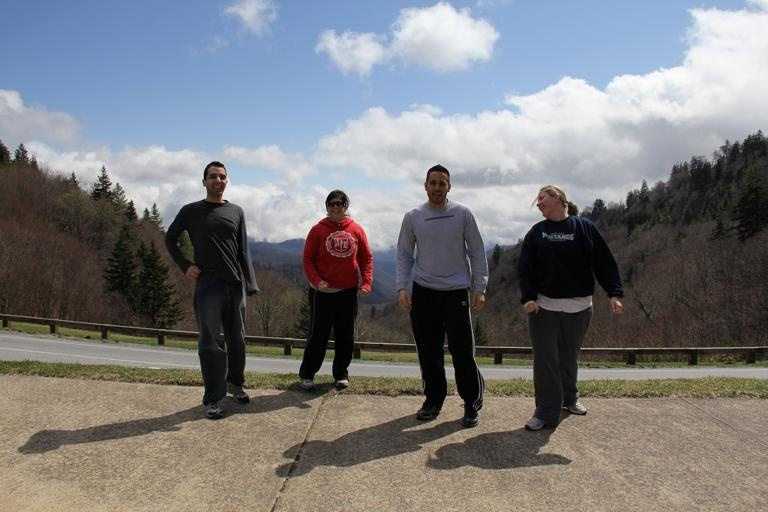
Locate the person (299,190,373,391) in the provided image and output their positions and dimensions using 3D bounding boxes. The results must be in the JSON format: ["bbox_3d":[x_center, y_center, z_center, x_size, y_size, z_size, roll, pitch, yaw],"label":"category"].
[{"bbox_3d":[-0.737,0.522,9.057,1.095,2.943,0.488,-1,1,-8],"label":"person"}]

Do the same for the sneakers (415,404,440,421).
[{"bbox_3d":[0.582,2.126,8.109,0.323,0.139,0.150,16,-12,-43],"label":"sneakers"}]

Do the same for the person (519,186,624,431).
[{"bbox_3d":[2.372,0.662,8.082,1.238,3.175,0.482,-1,1,-14],"label":"person"}]

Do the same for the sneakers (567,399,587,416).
[{"bbox_3d":[2.687,2.097,8.261,0.128,0.253,0.364,10,-17,-39],"label":"sneakers"}]

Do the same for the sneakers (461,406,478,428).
[{"bbox_3d":[1.159,2.129,7.968,0.344,0.224,0.190,-2,2,-39],"label":"sneakers"}]

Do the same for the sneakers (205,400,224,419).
[{"bbox_3d":[-2.209,2.031,7.889,0.227,0.183,0.196,-1,1,-17],"label":"sneakers"}]

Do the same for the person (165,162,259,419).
[{"bbox_3d":[-2.299,0.393,8.312,1.126,3.350,0.900,-1,1,-18],"label":"person"}]

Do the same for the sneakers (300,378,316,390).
[{"bbox_3d":[-1.131,1.917,8.960,0.194,0.137,0.114,-7,-9,38],"label":"sneakers"}]

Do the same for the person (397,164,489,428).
[{"bbox_3d":[0.771,0.752,8.189,1.200,2.942,0.589,0,1,9],"label":"person"}]
